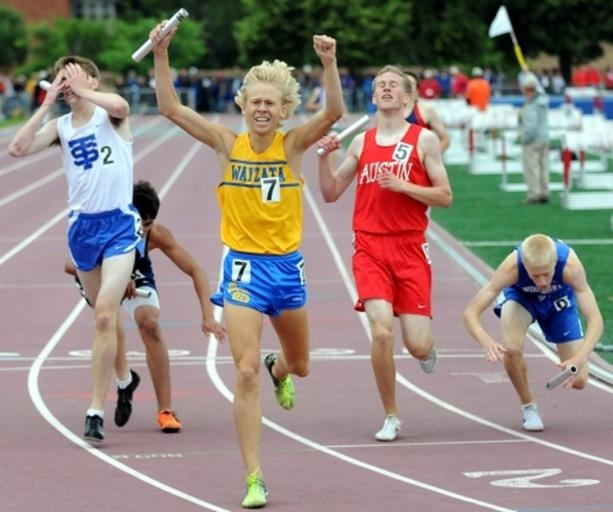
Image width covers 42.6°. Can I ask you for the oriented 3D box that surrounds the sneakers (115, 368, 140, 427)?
[{"bbox_3d":[-1.157,0.915,5.167,0.120,0.387,0.150,-4,-24,25],"label":"sneakers"}]

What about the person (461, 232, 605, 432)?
[{"bbox_3d":[1.488,0.501,5.066,0.751,1.297,1.144,5,7,42],"label":"person"}]

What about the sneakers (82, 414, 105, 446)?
[{"bbox_3d":[-1.252,1.019,4.674,0.091,0.117,0.268,2,-1,-4],"label":"sneakers"}]

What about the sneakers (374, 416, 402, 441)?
[{"bbox_3d":[0.515,1.082,4.948,0.085,0.101,0.228,-2,-1,20],"label":"sneakers"}]

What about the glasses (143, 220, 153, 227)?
[{"bbox_3d":[-1.026,-0.214,5.067,0.040,0.032,0.041,6,-5,-32],"label":"glasses"}]

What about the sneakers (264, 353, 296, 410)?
[{"bbox_3d":[-0.161,0.867,5.231,0.152,0.422,0.175,-21,11,3],"label":"sneakers"}]

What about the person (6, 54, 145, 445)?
[{"bbox_3d":[-1.361,-0.079,4.810,0.628,2.297,0.527,2,5,25],"label":"person"}]

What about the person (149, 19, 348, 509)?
[{"bbox_3d":[-0.238,-0.065,4.248,0.819,2.425,1.077,-4,6,-35],"label":"person"}]

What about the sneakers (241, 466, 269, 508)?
[{"bbox_3d":[-0.249,1.119,3.735,0.109,0.179,0.096,-1,5,-12],"label":"sneakers"}]
